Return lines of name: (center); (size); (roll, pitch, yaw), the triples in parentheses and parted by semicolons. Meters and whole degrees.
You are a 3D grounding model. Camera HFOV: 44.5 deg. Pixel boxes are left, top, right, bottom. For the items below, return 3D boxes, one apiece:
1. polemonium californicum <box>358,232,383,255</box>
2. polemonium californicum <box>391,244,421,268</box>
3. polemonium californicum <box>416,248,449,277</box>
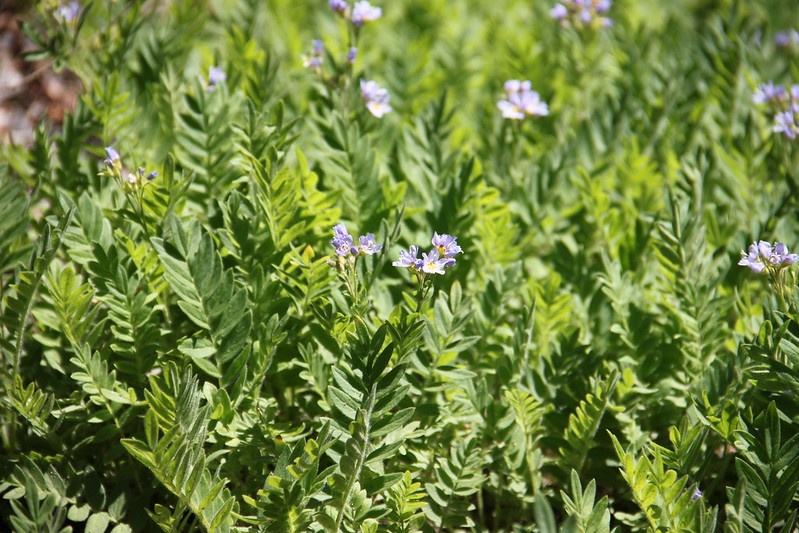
polemonium californicum: (-0.074, -0.059, 2.408); (0.053, 0.050, 0.064); (0, 44, -3)
polemonium californicum: (0.020, -0.020, 2.406); (0.049, 0.029, 0.060); (-18, 65, 5)
polemonium californicum: (0.078, -0.005, 2.375); (0.073, 0.067, 0.057); (17, 44, 15)
